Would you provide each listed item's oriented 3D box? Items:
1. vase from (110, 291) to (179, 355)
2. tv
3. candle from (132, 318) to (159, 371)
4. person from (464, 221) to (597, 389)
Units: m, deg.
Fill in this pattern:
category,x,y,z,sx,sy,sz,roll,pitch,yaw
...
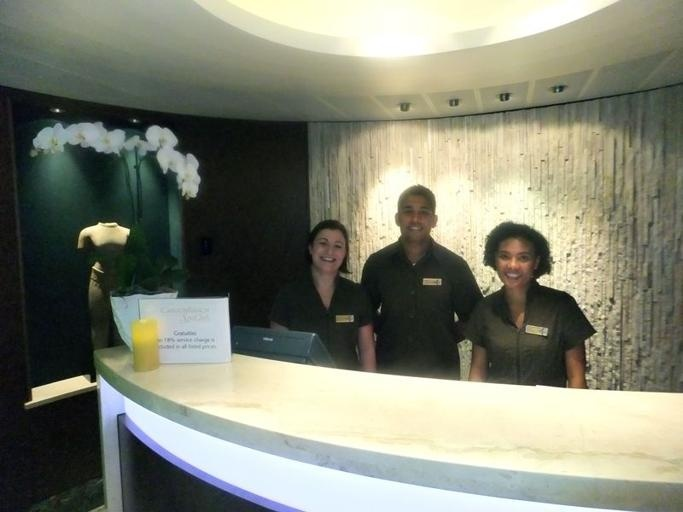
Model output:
category,x,y,z,sx,sy,sz,roll,pitch,yaw
vase,-0.857,0.294,2.511,0.301,0.258,0.106,-2,7,-9
tv,-0.279,0.414,2.591,0.531,0.159,0.103,3,7,23
candle,-0.857,0.389,2.487,0.115,0.219,0.089,-2,6,-15
person,1.023,0.252,3.113,0.646,0.853,0.287,1,6,11
